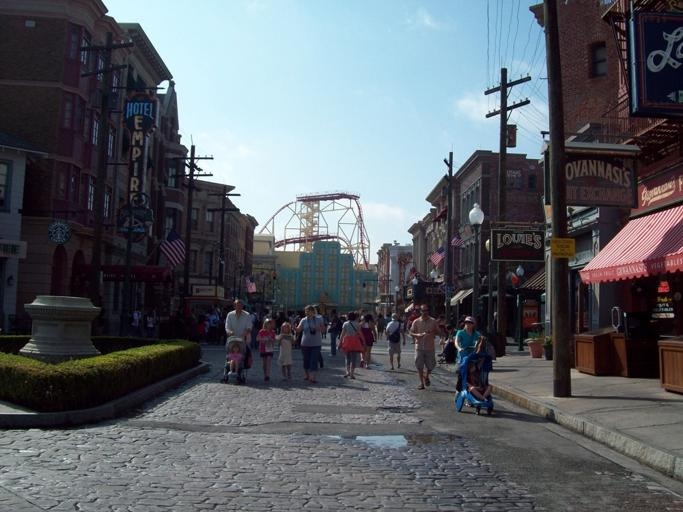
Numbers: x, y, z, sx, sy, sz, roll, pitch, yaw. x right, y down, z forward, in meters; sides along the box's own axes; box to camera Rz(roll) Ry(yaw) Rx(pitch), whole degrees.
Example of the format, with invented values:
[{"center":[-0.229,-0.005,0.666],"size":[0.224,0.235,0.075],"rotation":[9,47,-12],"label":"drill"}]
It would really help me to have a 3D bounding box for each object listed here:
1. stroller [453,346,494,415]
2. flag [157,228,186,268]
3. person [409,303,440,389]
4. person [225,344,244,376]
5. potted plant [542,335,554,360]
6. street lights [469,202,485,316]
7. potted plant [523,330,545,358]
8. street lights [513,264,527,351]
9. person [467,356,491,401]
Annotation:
[{"center":[2.948,2.716,15.319],"size":[0.591,1.506,1.297],"rotation":[3,-2,-1],"label":"stroller"},{"center":[-9.341,-0.508,38.791],"size":[1.596,2.285,0.180],"rotation":[-1,-32,1],"label":"flag"},{"center":[2.225,2.458,18.847],"size":[0.719,2.168,1.428],"rotation":[1,-9,3],"label":"person"},{"center":[-2.824,2.706,18.814],"size":[0.425,0.869,0.441],"rotation":[3,-9,-9],"label":"person"},{"center":[7.706,3.416,26.321],"size":[0.282,0.878,0.821],"rotation":[0,-10,11],"label":"potted plant"},{"center":[5.706,0.538,29.867],"size":[0.549,5.324,0.603],"rotation":[0,5,-11],"label":"street lights"},{"center":[7.859,3.599,28.625],"size":[0.762,0.749,0.866],"rotation":[1,-7,-2],"label":"potted plant"},{"center":[9.030,2.774,35.647],"size":[0.603,4.415,0.679],"rotation":[-9,11,-12],"label":"street lights"},{"center":[2.977,2.606,15.249],"size":[0.418,0.926,0.712],"rotation":[-6,6,-10],"label":"person"}]
